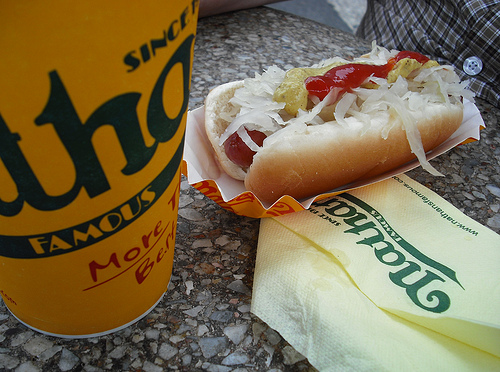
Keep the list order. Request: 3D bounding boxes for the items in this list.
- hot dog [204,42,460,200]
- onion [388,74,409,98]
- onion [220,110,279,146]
[{"bbox_3d":[0.298,-0.173,1.238,0.777,0.246,0.390,-10,49,-20],"label":"hot dog"},{"bbox_3d":[0.429,-0.285,1.223,0.028,0.055,0.065,34,67,-25],"label":"onion"},{"bbox_3d":[-0.007,-0.163,1.166,0.162,0.076,0.050,-5,48,-12],"label":"onion"}]
